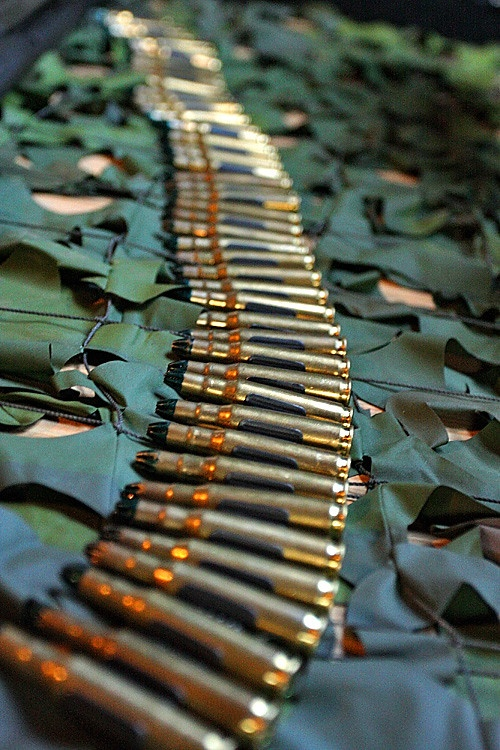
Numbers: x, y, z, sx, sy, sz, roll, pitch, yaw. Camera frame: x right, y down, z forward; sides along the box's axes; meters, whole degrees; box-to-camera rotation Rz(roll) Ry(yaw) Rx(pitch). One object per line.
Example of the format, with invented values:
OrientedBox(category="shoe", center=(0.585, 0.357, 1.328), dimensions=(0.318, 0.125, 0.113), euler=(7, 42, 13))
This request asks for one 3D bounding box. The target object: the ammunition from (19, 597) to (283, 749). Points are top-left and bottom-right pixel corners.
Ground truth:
OrientedBox(category="ammunition", center=(-0.062, 0.185, 0.432), dimensions=(0.155, 0.026, 0.023), euler=(20, 67, 12))
